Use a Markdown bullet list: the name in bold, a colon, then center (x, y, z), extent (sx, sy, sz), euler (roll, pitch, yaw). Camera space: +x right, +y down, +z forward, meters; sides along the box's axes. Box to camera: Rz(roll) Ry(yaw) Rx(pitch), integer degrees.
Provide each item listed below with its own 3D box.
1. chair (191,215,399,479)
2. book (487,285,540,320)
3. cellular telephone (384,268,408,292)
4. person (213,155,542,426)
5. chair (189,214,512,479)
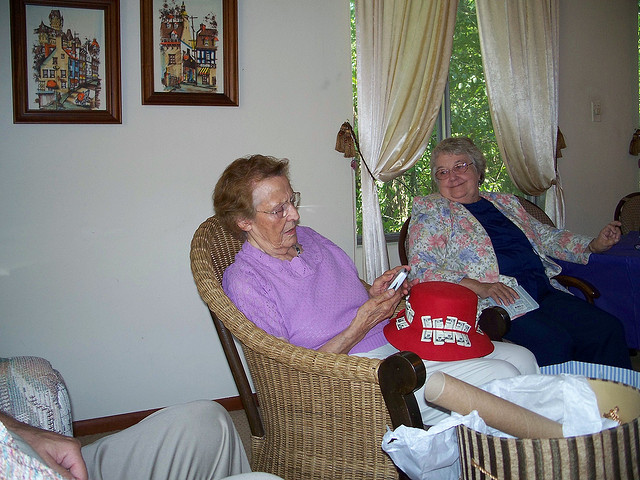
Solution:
- **chair**: center (-0.037, 0.300, 2.150), extent (0.748, 1.147, 0.840), euler (-8, 10, 19)
- **book**: center (1.016, 0.325, 2.558), extent (0.187, 0.054, 0.197), euler (-15, 47, -22)
- **cellular telephone**: center (0.317, 0.169, 2.066), extent (0.019, 0.087, 0.081), euler (37, 38, 9)
- **person**: center (0.299, 0.022, 2.233), extent (1.492, 1.313, 0.810), euler (2, 23, 23)
- **chair**: center (0.136, 0.394, 1.978), extent (0.923, 0.899, 0.753), euler (7, 16, 32)
